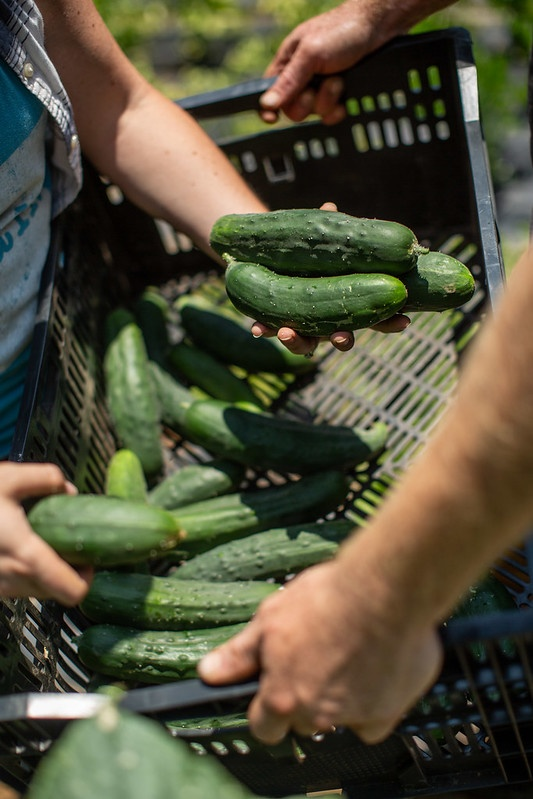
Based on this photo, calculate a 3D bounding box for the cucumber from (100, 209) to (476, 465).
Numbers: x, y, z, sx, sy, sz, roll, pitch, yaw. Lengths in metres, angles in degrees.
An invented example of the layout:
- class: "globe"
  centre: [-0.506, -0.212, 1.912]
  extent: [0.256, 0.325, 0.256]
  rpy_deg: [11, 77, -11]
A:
- class: "cucumber"
  centre: [0.115, -0.237, 1.496]
  extent: [0.559, 0.239, 0.227]
  rpy_deg: [8, 50, 20]

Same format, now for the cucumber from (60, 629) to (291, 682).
- class: "cucumber"
  centre: [-0.168, 0.483, 1.469]
  extent: [0.437, 0.122, 0.127]
  rpy_deg: [-2, 56, 2]

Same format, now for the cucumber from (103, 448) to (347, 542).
- class: "cucumber"
  centre: [-0.088, 0.216, 1.641]
  extent: [0.430, 0.097, 0.223]
  rpy_deg: [0, 32, 13]
